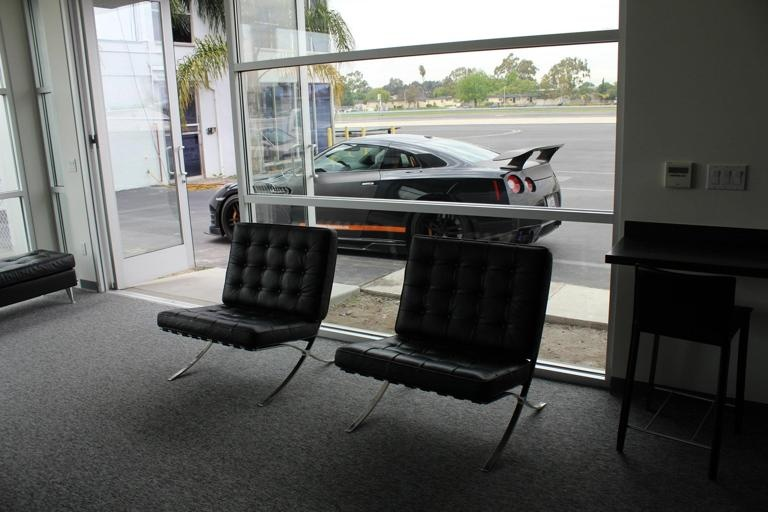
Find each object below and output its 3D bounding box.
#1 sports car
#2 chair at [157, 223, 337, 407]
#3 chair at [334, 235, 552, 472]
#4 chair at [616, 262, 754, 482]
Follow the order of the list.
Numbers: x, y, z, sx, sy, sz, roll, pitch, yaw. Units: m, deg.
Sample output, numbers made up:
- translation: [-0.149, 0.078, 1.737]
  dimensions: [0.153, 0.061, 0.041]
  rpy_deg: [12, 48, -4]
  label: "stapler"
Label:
- translation: [0.117, -0.545, 4.240]
  dimensions: [2.535, 0.584, 1.147]
  rpy_deg: [8, 17, 24]
  label: "sports car"
- translation: [-0.985, 0.378, 3.696]
  dimensions: [1.017, 1.147, 0.902]
  rpy_deg: [10, 20, 31]
  label: "chair"
- translation: [0.413, 0.534, 3.078]
  dimensions: [0.989, 1.161, 0.838]
  rpy_deg: [10, 20, 30]
  label: "chair"
- translation: [1.810, 0.580, 2.876]
  dimensions: [0.650, 1.119, 0.813]
  rpy_deg: [12, 21, 34]
  label: "chair"
